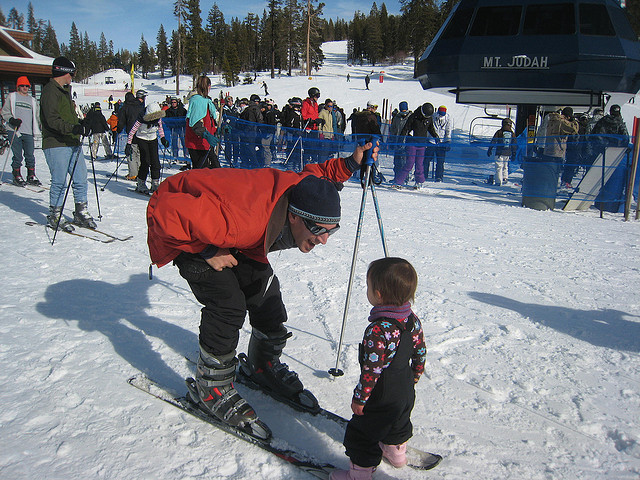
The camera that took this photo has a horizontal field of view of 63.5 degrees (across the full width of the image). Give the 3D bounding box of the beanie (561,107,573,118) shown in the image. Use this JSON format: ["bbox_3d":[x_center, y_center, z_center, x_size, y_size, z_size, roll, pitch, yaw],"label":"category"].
[{"bbox_3d":[5.616,-2.890,11.667,0.227,0.189,0.558,8,16,23],"label":"beanie"}]

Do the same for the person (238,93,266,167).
[{"bbox_3d":[-1.570,-2.423,12.191,0.586,2.013,0.566,0,25,-9],"label":"person"}]

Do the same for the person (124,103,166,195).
[{"bbox_3d":[-3.177,-1.711,9.495,0.836,1.691,0.676,-13,35,-34],"label":"person"}]

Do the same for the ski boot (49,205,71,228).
[{"bbox_3d":[-3.774,-0.328,7.427,0.330,0.294,0.131,20,33,3],"label":"ski boot"}]

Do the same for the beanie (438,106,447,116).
[{"bbox_3d":[2.983,-3.162,12.516,0.168,0.242,0.240,0,48,0],"label":"beanie"}]

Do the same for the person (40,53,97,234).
[{"bbox_3d":[-3.668,-1.377,7.379,0.656,2.420,1.382,-6,16,-28],"label":"person"}]

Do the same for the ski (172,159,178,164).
[{"bbox_3d":[-3.918,-2.121,13.912,0.091,0.138,0.032,4,-8,5],"label":"ski"}]

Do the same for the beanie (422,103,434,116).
[{"bbox_3d":[2.278,-2.738,10.819,0.229,0.241,0.182,-7,10,23],"label":"beanie"}]

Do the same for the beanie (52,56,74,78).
[{"bbox_3d":[-3.511,-2.345,7.004,0.158,0.278,0.440,5,15,13],"label":"beanie"}]

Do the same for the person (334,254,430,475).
[{"bbox_3d":[0.471,0.924,3.835,0.623,1.559,0.401,-10,18,-39],"label":"person"}]

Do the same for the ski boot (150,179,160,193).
[{"bbox_3d":[-3.131,-1.020,9.735,0.178,0.268,0.562,-3,16,-18],"label":"ski boot"}]

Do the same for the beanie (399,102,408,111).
[{"bbox_3d":[2.097,-3.335,12.879,0.259,0.259,0.258,-6,13,-36],"label":"beanie"}]

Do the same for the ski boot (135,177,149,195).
[{"bbox_3d":[-3.435,-1.037,9.870,0.349,0.306,0.158,12,25,-7],"label":"ski boot"}]

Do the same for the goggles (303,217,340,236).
[{"bbox_3d":[-0.014,-0.089,3.806,0.169,0.056,0.169,7,32,-50],"label":"goggles"}]

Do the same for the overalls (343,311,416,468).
[{"bbox_3d":[0.474,1.120,3.895,0.630,1.300,0.421,-12,24,-37],"label":"overalls"}]

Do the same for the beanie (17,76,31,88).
[{"bbox_3d":[-5.271,-2.812,9.095,0.246,0.166,0.177,19,1,31],"label":"beanie"}]

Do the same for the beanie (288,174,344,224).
[{"bbox_3d":[-0.036,-0.304,3.839,0.389,0.327,0.231,4,14,8],"label":"beanie"}]
